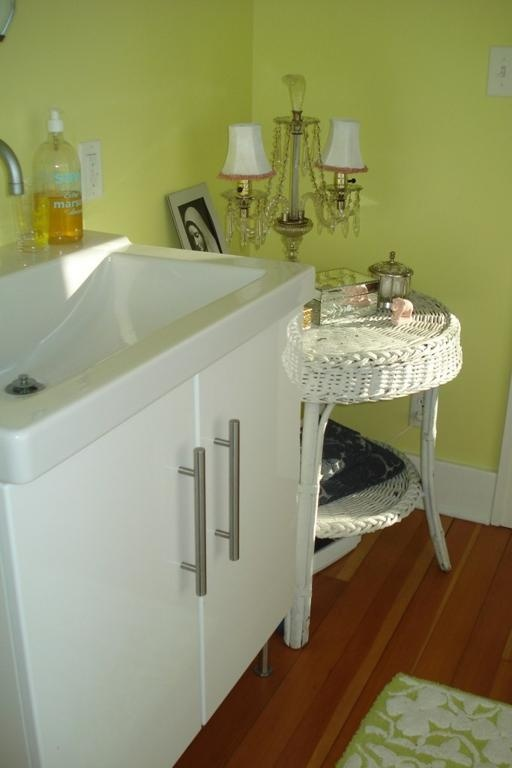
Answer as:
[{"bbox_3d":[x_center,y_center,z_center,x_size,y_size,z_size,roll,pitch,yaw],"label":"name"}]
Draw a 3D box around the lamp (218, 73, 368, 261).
[{"bbox_3d":[0.116,-0.560,1.645,0.384,0.430,0.593,1,17,1],"label":"lamp"}]
